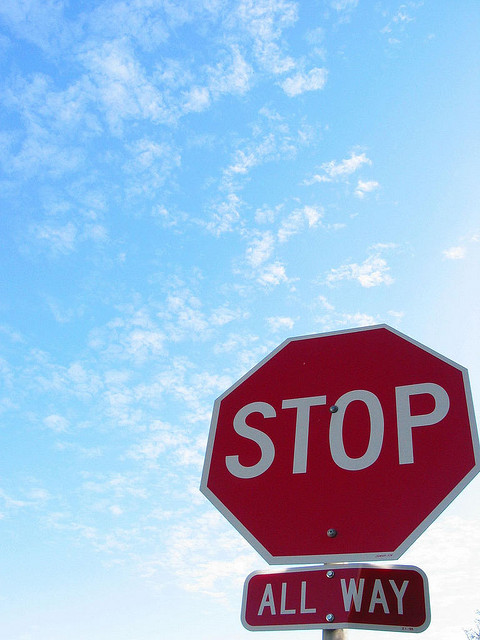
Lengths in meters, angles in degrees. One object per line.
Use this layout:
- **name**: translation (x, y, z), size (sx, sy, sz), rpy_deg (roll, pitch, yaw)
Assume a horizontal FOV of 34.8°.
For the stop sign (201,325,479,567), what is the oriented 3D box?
- **stop sign**: translation (0.377, 0.480, 2.759), size (0.931, 0.060, 0.749), rpy_deg (-13, 43, 13)
